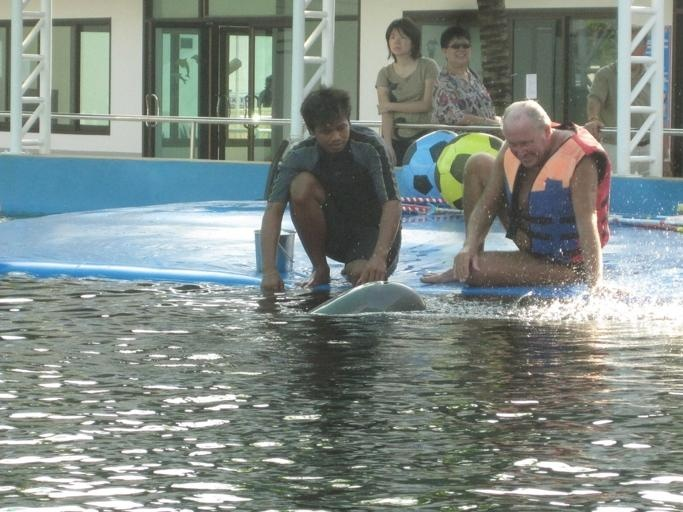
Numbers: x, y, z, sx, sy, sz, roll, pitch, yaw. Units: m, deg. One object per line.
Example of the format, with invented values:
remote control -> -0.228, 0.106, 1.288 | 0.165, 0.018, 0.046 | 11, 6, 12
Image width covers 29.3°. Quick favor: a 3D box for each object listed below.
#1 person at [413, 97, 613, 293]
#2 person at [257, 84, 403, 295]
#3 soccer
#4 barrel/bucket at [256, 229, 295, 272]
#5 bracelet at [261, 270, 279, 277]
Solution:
person -> 1.077, -0.318, 7.004 | 0.818, 1.037, 0.652 | 6, 14, 24
person -> -0.039, -0.369, 7.114 | 0.744, 1.105, 0.687 | 1, 13, 4
soccer -> 0.814, -0.683, 10.212 | 0.749, 0.637, 0.393 | -8, -32, 23
barrel/bucket -> -0.381, -0.025, 7.614 | 0.268, 0.208, 0.226 | -3, 9, -28
bracelet -> -0.373, 0.097, 7.065 | 0.086, 0.037, 0.110 | -1, 12, -6
